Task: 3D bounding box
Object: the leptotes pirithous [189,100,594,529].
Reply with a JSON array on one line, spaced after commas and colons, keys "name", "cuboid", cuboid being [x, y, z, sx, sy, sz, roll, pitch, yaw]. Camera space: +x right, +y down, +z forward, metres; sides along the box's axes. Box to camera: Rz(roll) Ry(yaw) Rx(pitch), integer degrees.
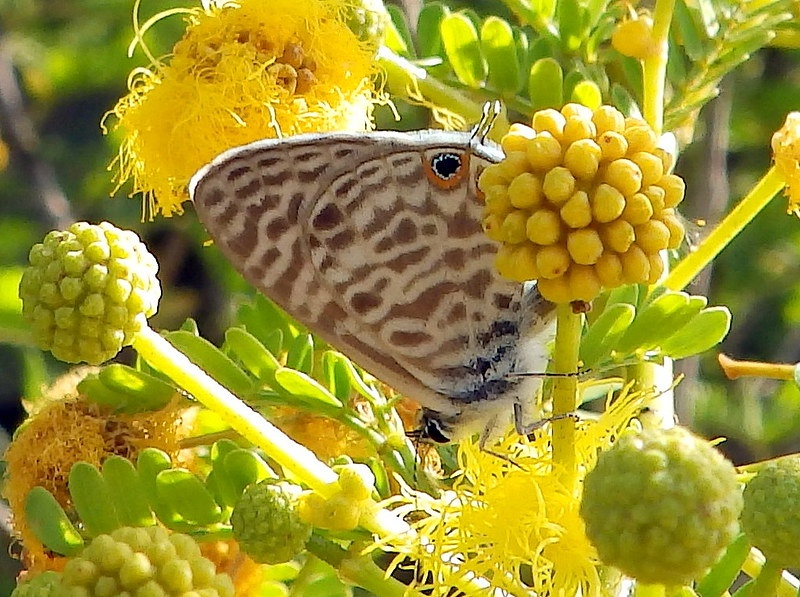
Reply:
[{"name": "leptotes pirithous", "cuboid": [0.004, -0.033, 1.618, 0.274, 0.298, 0.373, -35, 68, -8]}]
